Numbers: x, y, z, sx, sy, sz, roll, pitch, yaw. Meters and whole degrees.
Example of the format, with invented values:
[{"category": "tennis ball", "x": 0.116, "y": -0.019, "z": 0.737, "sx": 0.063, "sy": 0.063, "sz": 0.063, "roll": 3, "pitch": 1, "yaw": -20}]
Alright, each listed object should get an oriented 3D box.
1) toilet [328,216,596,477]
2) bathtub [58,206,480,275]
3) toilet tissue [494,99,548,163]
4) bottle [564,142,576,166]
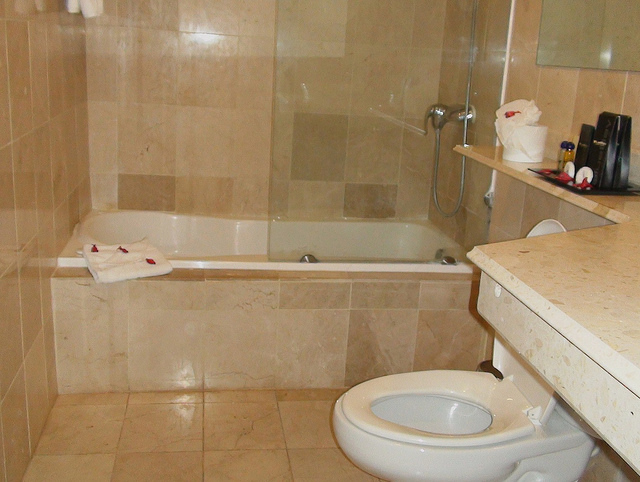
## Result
[{"category": "toilet", "x": 0.437, "y": 0.346, "z": 2.284, "sx": 1.050, "sy": 1.273, "sz": 0.580, "roll": -1, "pitch": 21, "yaw": -4}, {"category": "bathtub", "x": -0.288, "y": -0.029, "z": 3.233, "sx": 2.171, "sy": 0.423, "sz": 1.121, "roll": -1, "pitch": 14, "yaw": -7}, {"category": "toilet tissue", "x": 0.946, "y": -0.529, "z": 2.624, "sx": 0.196, "sy": 0.280, "sz": 0.256, "roll": 0, "pitch": 14, "yaw": -2}, {"category": "bottle", "x": 1.070, "y": -0.376, "z": 2.358, "sx": 0.038, "sy": 0.090, "sz": 0.085, "roll": 6, "pitch": 15, "yaw": 24}]
